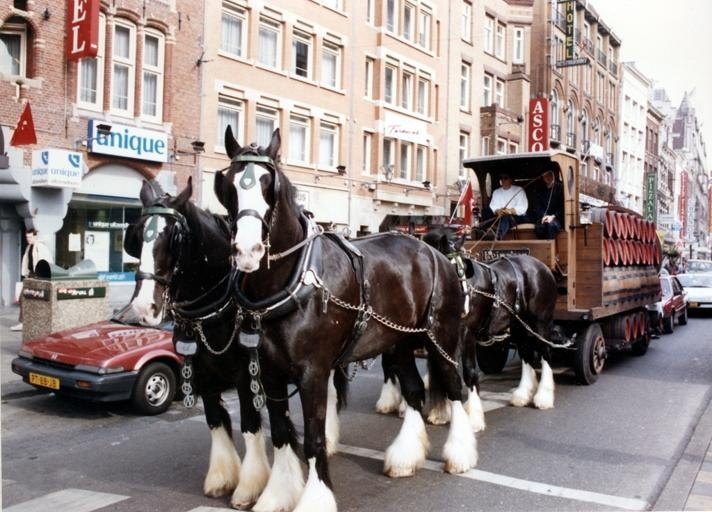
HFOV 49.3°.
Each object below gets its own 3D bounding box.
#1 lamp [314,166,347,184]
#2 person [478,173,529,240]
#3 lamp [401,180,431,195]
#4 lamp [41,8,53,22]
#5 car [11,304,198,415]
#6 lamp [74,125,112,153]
[{"bbox_3d":[-1.049,-2.946,27.983,0.399,0.655,2.165,5,12,35],"label":"lamp"},{"bbox_3d":[2.961,-0.951,15.554,0.687,1.679,1.391,3,-2,30],"label":"person"},{"bbox_3d":[2.557,-2.715,32.344,0.450,0.767,1.771,8,20,34],"label":"lamp"},{"bbox_3d":[-8.108,-6.311,20.311,0.240,0.418,0.253,16,3,-37],"label":"lamp"},{"bbox_3d":[-3.946,1.764,12.609,1.690,1.078,2.929,1,-6,36],"label":"car"},{"bbox_3d":[-7.017,-3.244,20.911,0.849,0.449,0.482,-3,-4,39],"label":"lamp"}]
